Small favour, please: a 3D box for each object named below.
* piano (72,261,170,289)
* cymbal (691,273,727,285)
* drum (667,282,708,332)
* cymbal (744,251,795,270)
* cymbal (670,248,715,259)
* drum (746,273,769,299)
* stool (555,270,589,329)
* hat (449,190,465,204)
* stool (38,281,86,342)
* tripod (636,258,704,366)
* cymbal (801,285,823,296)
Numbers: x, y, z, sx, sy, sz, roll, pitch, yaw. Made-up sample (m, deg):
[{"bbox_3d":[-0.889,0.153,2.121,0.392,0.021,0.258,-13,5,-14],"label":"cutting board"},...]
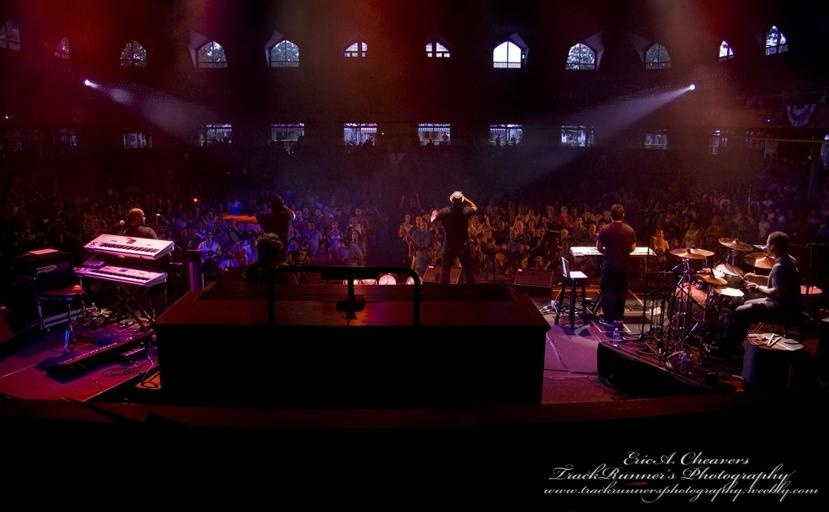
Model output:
[{"bbox_3d":[-4.712,0.324,9.796,1.405,0.395,0.428,3,6,15],"label":"piano"},{"bbox_3d":[4.482,0.365,9.240,0.266,0.066,0.263,-6,14,-29],"label":"cymbal"},{"bbox_3d":[4.376,0.842,9.788,0.553,0.818,0.792,4,6,28],"label":"drum"},{"bbox_3d":[5.633,0.078,9.986,0.354,0.225,0.593,3,6,18],"label":"cymbal"},{"bbox_3d":[4.456,-0.014,9.780,0.647,0.182,0.458,0,6,-21],"label":"cymbal"},{"bbox_3d":[5.642,0.438,10.038,0.337,0.478,0.164,6,-15,-16],"label":"drum"},{"bbox_3d":[2.786,0.736,10.720,0.689,1.173,0.655,0,-20,27],"label":"stool"},{"bbox_3d":[0.823,-1.075,11.474,0.279,0.253,0.771,2,6,4],"label":"hat"},{"bbox_3d":[-5.877,0.997,10.003,0.851,0.936,0.812,15,-7,-28],"label":"stool"},{"bbox_3d":[4.186,0.933,10.336,1.500,1.739,1.246,2,1,-9],"label":"tripod"},{"bbox_3d":[6.609,0.584,10.238,0.300,0.072,0.305,-3,8,5],"label":"cymbal"}]
